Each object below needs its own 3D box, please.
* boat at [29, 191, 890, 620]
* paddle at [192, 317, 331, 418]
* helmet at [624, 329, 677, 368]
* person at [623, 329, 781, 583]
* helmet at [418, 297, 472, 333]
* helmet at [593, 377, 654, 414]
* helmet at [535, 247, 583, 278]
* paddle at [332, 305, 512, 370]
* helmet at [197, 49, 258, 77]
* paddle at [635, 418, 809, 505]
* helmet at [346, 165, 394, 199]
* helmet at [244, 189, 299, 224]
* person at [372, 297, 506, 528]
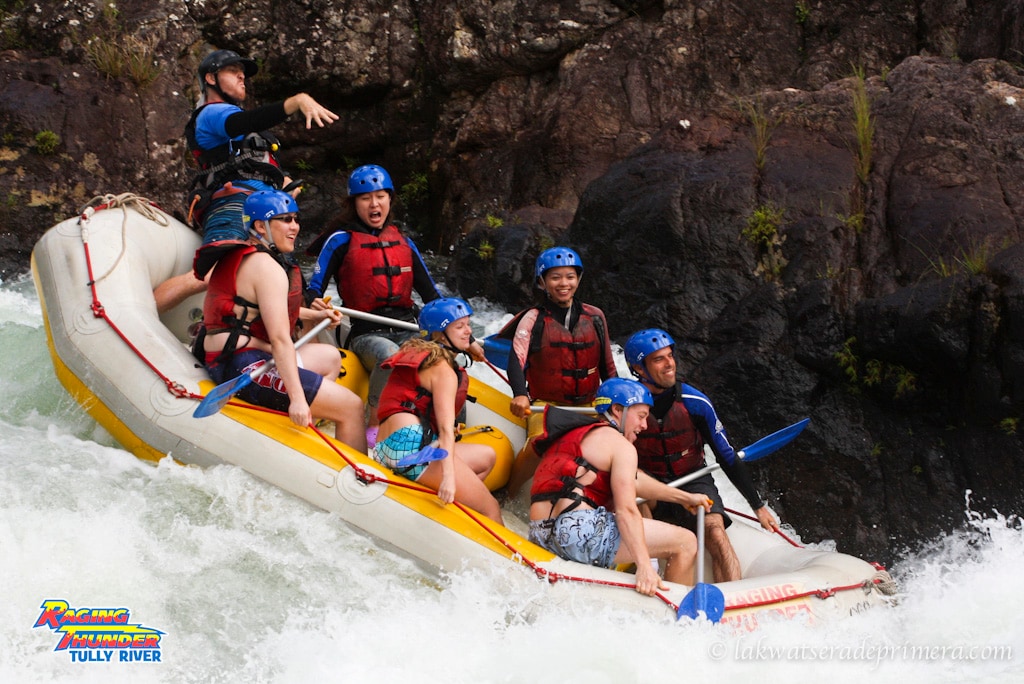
[{"bbox_3d":[-0.613,0.460,10.828,7.166,1.546,3.309,29,19,3],"label":"boat"},{"bbox_3d":[-2.094,0.226,10.607,1.421,0.238,0.085,-31,-12,-9],"label":"paddle"},{"bbox_3d":[1.203,0.041,11.235,0.281,0.382,0.299,-14,9,-22],"label":"helmet"},{"bbox_3d":[1.675,1.050,11.315,1.301,1.767,1.072,-25,-19,-1],"label":"person"},{"bbox_3d":[-0.565,-0.229,10.774,0.350,0.208,0.281,-11,14,8],"label":"helmet"},{"bbox_3d":[0.905,0.444,10.581,0.365,0.284,0.281,22,3,10],"label":"helmet"},{"bbox_3d":[0.410,-0.769,11.794,0.273,0.369,0.283,2,9,-4],"label":"helmet"},{"bbox_3d":[-0.854,-0.061,12.001,1.468,0.636,0.210,14,-4,-18],"label":"paddle"},{"bbox_3d":[-2.521,-2.511,11.469,0.433,0.199,0.308,-16,-2,19],"label":"helmet"},{"bbox_3d":[1.854,1.064,11.504,2.224,0.241,0.114,-23,8,-20],"label":"paddle"},{"bbox_3d":[-1.355,-1.509,11.941,0.384,0.311,0.287,-20,-7,42],"label":"helmet"},{"bbox_3d":[-1.989,-1.129,10.657,0.341,0.181,0.269,0,9,4],"label":"helmet"},{"bbox_3d":[-0.461,0.808,10.941,1.516,2.258,1.107,3,-1,-12],"label":"person"}]
